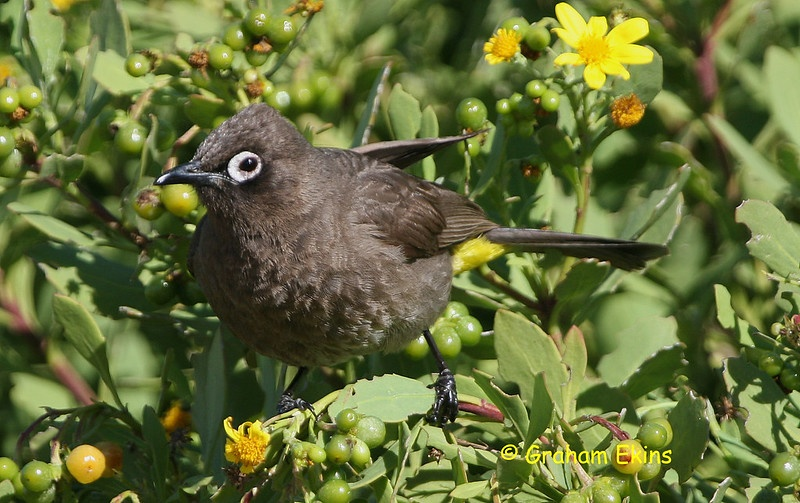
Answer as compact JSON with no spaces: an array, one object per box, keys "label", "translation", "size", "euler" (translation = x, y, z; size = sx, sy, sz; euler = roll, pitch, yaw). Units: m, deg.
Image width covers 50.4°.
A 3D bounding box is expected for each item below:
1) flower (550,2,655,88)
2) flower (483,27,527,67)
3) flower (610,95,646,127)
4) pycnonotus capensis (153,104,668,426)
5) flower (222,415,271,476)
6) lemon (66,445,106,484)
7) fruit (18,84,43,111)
[{"label":"flower","translation":[0.923,-0.927,3.877],"size":[0.448,0.381,0.315],"euler":[5,14,10]},{"label":"flower","translation":[0.507,-0.960,4.052],"size":[0.177,0.172,0.073],"euler":[-38,-8,4]},{"label":"flower","translation":[1.036,-0.663,3.910],"size":[0.154,0.155,0.079],"euler":[12,-17,1]},{"label":"pycnonotus capensis","translation":[-0.231,-0.034,4.784],"size":[1.626,2.095,2.813],"euler":[2,4,4]},{"label":"flower","translation":[-0.625,0.789,3.536],"size":[0.185,0.244,0.201],"euler":[7,22,31]},{"label":"lemon","translation":[-1.325,0.916,3.665],"size":[0.166,0.154,0.183],"euler":[22,-26,-14]},{"label":"fruit","translation":[-1.699,-0.706,3.940],"size":[0.116,0.109,0.106],"euler":[-1,-30,-20]}]
